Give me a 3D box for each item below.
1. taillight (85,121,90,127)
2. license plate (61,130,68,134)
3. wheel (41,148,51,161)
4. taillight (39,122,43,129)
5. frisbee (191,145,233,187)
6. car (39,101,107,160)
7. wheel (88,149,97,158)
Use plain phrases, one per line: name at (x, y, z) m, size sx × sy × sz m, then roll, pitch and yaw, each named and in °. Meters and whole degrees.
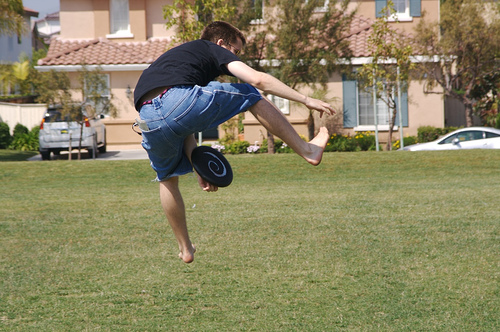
taillight at (-5.070, -1.315, 21.079) m, size 0.131 × 0.127 × 0.234 m, roll 1°, pitch -12°, yaw -5°
license plate at (-5.825, -1.078, 21.140) m, size 0.217 × 0.125 × 0.046 m, roll -2°, pitch 3°, yaw -9°
wheel at (-6.485, -0.382, 21.374) m, size 0.131 × 0.356 × 0.362 m, roll 2°, pitch 4°, yaw 10°
taillight at (-6.499, -1.261, 21.002) m, size 0.122 × 0.230 × 0.056 m, roll 0°, pitch 3°, yaw 29°
frisbee at (-0.551, 0.006, 9.842) m, size 0.610 × 0.594 × 0.121 m, roll 15°, pitch -45°, yaw -34°
car at (-5.601, -1.240, 21.196) m, size 1.305 × 1.099 × 2.329 m, roll -2°, pitch 6°, yaw -2°
wheel at (-5.054, -0.401, 21.583) m, size 0.269 × 0.261 × 0.484 m, roll -1°, pitch -8°, yaw -5°
